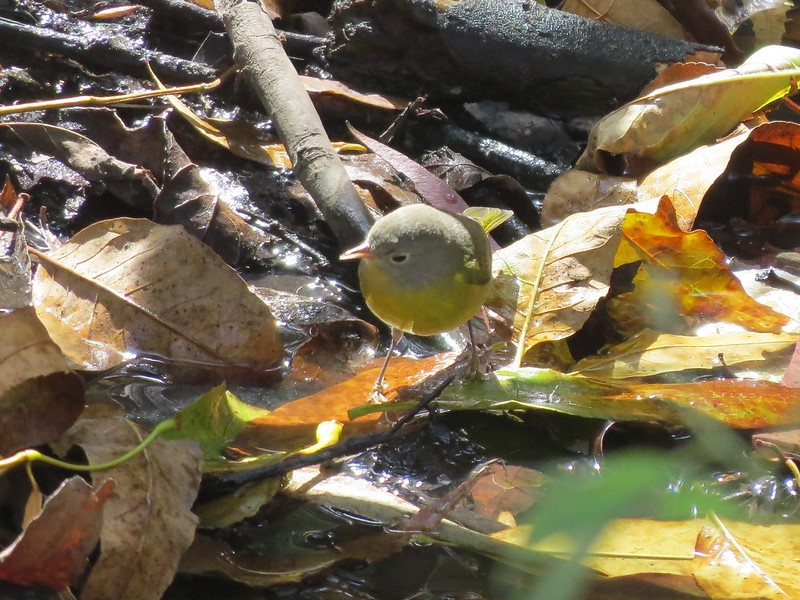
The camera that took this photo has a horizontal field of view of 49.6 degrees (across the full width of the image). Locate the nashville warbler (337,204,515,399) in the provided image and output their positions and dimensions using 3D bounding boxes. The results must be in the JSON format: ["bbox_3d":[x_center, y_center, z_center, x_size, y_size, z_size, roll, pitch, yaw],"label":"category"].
[{"bbox_3d":[0.042,-0.077,2.209,0.377,0.268,0.261,9,54,-4],"label":"nashville warbler"}]
